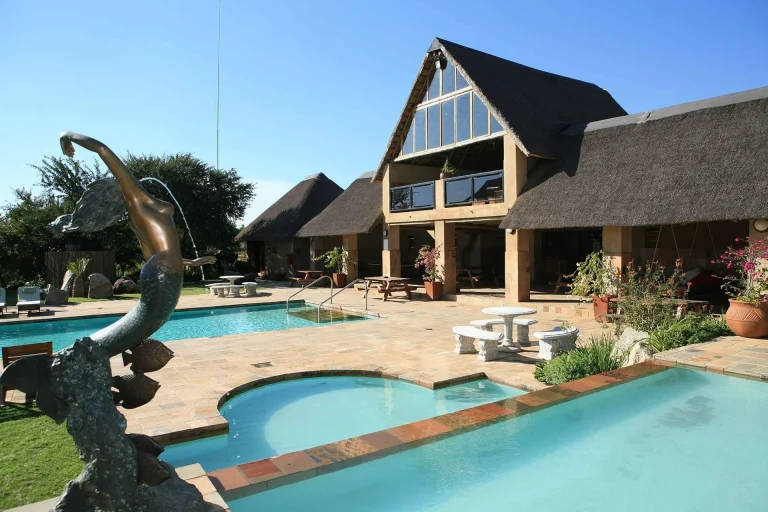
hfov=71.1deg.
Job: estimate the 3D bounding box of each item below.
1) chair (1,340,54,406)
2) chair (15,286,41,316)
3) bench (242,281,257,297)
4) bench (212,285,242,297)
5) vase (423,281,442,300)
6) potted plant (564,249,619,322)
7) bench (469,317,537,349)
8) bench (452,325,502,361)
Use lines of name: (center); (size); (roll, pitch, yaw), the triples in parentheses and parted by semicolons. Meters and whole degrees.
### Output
chair: (-6.943, 2.294, 10.387); (0.848, 1.128, 2.771); (0, -1, -31)
chair: (-12.858, 1.638, 19.411); (0.879, 1.046, 1.171); (0, 2, -30)
bench: (-6.232, 1.552, 24.999); (0.577, 0.577, 1.805); (0, -1, -15)
bench: (-7.265, 1.604, 24.868); (1.316, 0.514, 2.160); (1, -1, -38)
vase: (1.986, 1.441, 22.167); (0.760, 0.745, 0.677); (-1, -4, -12)
potted plant: (7.020, 0.961, 17.268); (1.834, 2.579, 2.126); (-1, 4, 4)
bench: (3.266, 1.866, 13.954); (1.197, 0.442, 0.850); (0, -2, 0)
bench: (2.412, 2.107, 12.773); (0.558, 0.417, 1.230); (-3, 4, -12)
